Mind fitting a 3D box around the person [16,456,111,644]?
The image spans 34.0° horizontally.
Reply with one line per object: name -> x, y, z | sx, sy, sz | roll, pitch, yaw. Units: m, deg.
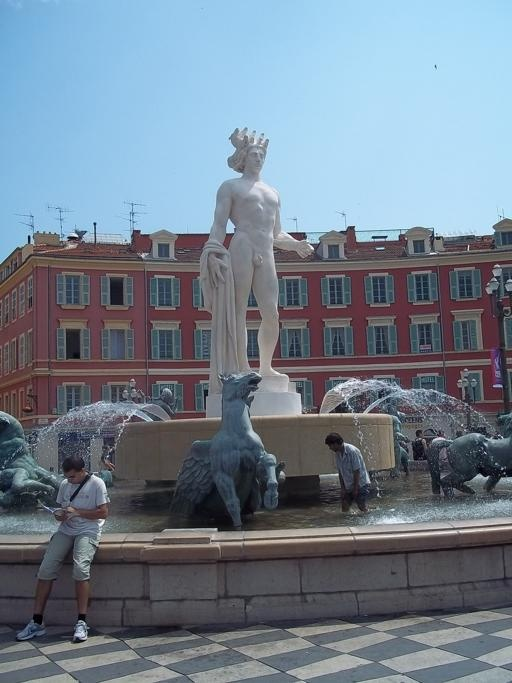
person -> -1.281, 1.343, 5.569 | 0.558, 1.194, 0.957 | -3, 1, -6

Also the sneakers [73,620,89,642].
sneakers -> -1.081, 1.799, 5.167 | 0.052, 0.073, 0.157 | 1, -15, -5

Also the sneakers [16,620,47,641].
sneakers -> -1.408, 1.837, 5.280 | 0.070, 0.094, 0.197 | -10, -12, 36

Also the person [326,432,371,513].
person -> 0.931, 1.322, 8.430 | 0.394, 0.729, 0.438 | -3, 1, 7
